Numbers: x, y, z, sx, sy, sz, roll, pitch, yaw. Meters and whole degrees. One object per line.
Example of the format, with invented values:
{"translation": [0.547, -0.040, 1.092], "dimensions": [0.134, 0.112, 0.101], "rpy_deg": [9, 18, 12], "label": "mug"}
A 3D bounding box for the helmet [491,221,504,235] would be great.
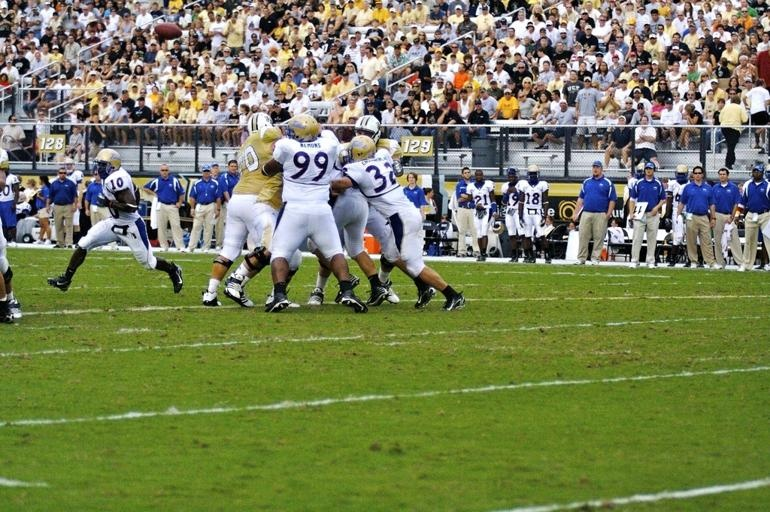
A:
{"translation": [2.203, -0.545, 26.048], "dimensions": [0.269, 0.235, 0.239], "rpy_deg": [-6, -7, 10], "label": "helmet"}

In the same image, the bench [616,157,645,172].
{"translation": [4.777, -1.770, 25.687], "dimensions": [0.367, 0.099, 0.322], "rpy_deg": [3, -25, -11], "label": "bench"}

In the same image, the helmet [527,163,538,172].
{"translation": [2.817, -1.681, 25.381], "dimensions": [0.347, 0.139, 0.456], "rpy_deg": [-1, 0, 3], "label": "helmet"}

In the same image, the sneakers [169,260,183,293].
{"translation": [-3.058, 0.312, 19.036], "dimensions": [0.181, 0.475, 0.224], "rpy_deg": [-2, 11, 33], "label": "sneakers"}

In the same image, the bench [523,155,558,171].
{"translation": [3.157, -1.920, 26.904], "dimensions": [0.890, 0.403, 0.184], "rpy_deg": [1, 1, 43], "label": "bench"}

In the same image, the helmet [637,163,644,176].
{"translation": [4.692, -1.580, 24.373], "dimensions": [0.189, 0.209, 0.230], "rpy_deg": [1, 3, 2], "label": "helmet"}

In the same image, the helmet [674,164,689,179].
{"translation": [5.414, -1.535, 24.153], "dimensions": [0.267, 0.297, 0.315], "rpy_deg": [4, 20, 10], "label": "helmet"}

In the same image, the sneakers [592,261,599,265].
{"translation": [3.830, 0.111, 24.148], "dimensions": [0.137, 0.069, 0.132], "rpy_deg": [0, 1, 10], "label": "sneakers"}

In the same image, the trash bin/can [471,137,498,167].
{"translation": [2.044, -2.137, 27.389], "dimensions": [0.653, 0.541, 0.610], "rpy_deg": [0, 0, -12], "label": "trash bin/can"}

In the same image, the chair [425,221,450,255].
{"translation": [1.044, -0.362, 26.724], "dimensions": [0.521, 0.683, 0.645], "rpy_deg": [0, 1, 3], "label": "chair"}

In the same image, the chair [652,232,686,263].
{"translation": [5.360, -0.170, 24.811], "dimensions": [0.539, 0.596, 0.823], "rpy_deg": [0, 1, 11], "label": "chair"}

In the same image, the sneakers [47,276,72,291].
{"translation": [-4.695, 0.387, 18.969], "dimensions": [0.303, 0.228, 0.288], "rpy_deg": [0, 1, -14], "label": "sneakers"}

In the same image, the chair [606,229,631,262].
{"translation": [4.396, -0.226, 25.220], "dimensions": [0.579, 0.773, 0.617], "rpy_deg": [1, -6, 6], "label": "chair"}
